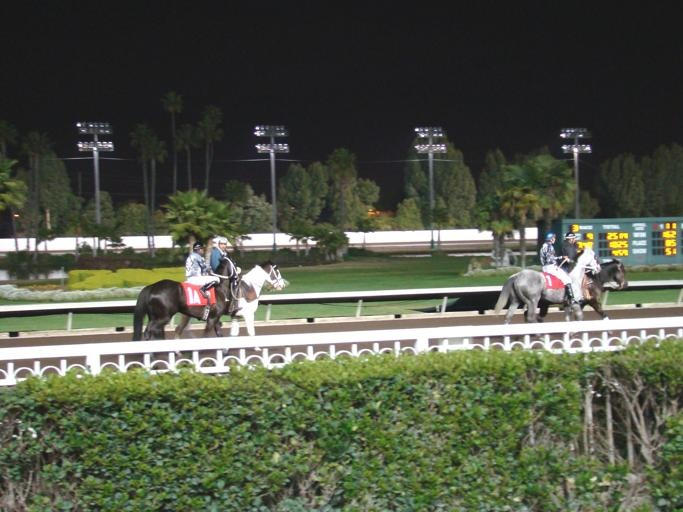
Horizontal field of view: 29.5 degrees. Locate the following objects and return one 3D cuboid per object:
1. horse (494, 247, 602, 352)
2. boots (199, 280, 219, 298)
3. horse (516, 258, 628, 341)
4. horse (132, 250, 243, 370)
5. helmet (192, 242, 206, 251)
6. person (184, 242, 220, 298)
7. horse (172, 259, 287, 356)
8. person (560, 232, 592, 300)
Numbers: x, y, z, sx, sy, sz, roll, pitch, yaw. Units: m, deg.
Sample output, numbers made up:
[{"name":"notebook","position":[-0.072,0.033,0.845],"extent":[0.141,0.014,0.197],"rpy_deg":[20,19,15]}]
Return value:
[{"name":"horse","position":[6.027,1.196,38.034],"extent":[2.740,2.712,2.759],"rpy_deg":[0,7,-1]},{"name":"boots","position":[-3.710,0.856,36.120],"extent":[0.429,0.593,0.207],"rpy_deg":[39,-5,-7]},{"name":"horse","position":[6.361,1.203,37.559],"extent":[4.376,2.176,1.026],"rpy_deg":[0,-12,-23]},{"name":"horse","position":[-4.318,1.324,36.531],"extent":[3.972,2.603,1.051],"rpy_deg":[-2,-3,-41]},{"name":"helmet","position":[-4.039,-0.306,36.543],"extent":[0.294,0.254,0.591],"rpy_deg":[-2,3,-8]},{"name":"person","position":[-3.905,0.369,36.726],"extent":[0.972,1.487,0.623],"rpy_deg":[-4,10,-17]},{"name":"horse","position":[-3.266,1.259,37.576],"extent":[2.682,2.426,2.657],"rpy_deg":[-3,11,-41]},{"name":"person","position":[6.821,0.200,37.739],"extent":[0.668,1.713,0.724],"rpy_deg":[-3,9,-16]}]
